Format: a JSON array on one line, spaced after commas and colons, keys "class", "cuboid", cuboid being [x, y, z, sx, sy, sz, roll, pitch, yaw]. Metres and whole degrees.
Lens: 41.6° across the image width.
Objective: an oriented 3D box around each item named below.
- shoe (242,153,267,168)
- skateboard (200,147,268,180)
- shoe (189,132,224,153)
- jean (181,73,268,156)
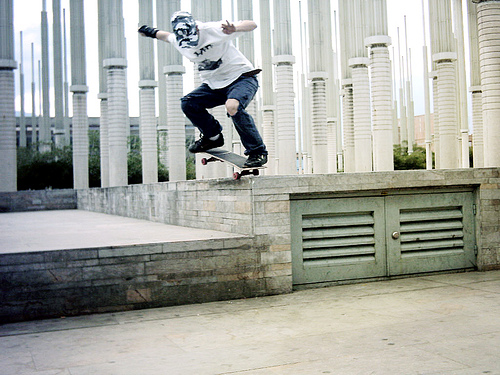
[{"class": "shoe", "cuboid": [0.097, -0.455, 11.207, 0.423, 0.175, 0.162, -8, -9, 0]}, {"class": "skateboard", "cuboid": [-0.386, -0.494, 11.895, 0.471, 0.225, 1.664, -7, 15, -28]}, {"class": "shoe", "cuboid": [-0.774, -0.825, 12.104, 0.839, 0.246, 0.346, -5, -39, -5]}, {"class": "jean", "cuboid": [-0.366, -1.237, 11.569, 1.404, 1.497, 1.243, 2, 7, -31]}]
